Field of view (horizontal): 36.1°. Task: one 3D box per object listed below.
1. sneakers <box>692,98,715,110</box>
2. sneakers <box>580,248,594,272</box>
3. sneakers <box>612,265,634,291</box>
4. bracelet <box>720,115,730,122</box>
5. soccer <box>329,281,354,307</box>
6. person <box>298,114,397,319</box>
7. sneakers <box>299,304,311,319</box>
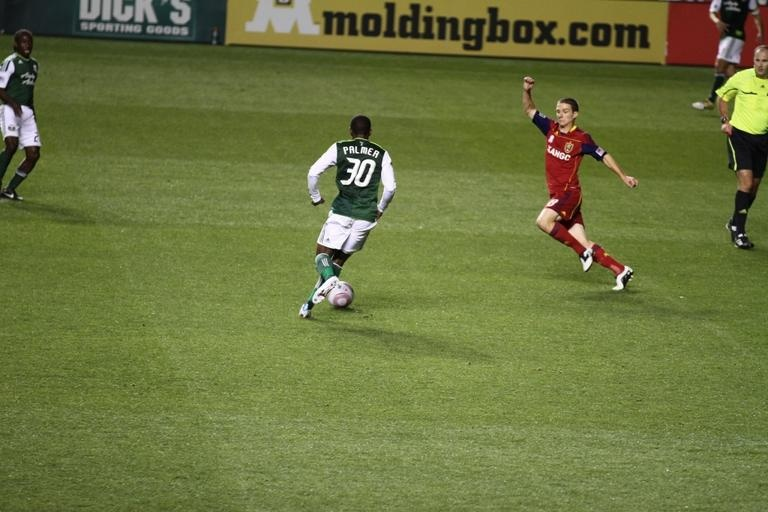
[{"bbox_3d":[6.189,-2.959,22.971,0.458,0.186,0.150,4,41,3],"label":"sneakers"},{"bbox_3d":[2.515,0.045,14.590,0.156,0.293,0.115,-7,7,3],"label":"sneakers"},{"bbox_3d":[2.928,0.282,14.476,0.214,0.373,0.143,3,30,-23],"label":"sneakers"},{"bbox_3d":[4.559,-1.824,15.776,0.110,0.099,0.106,-6,-25,24],"label":"bracelet"},{"bbox_3d":[-0.468,0.426,13.004,0.253,0.272,0.194,2,8,-16],"label":"soccer"},{"bbox_3d":[-0.484,-0.464,13.537,0.774,2.297,1.096,12,11,42],"label":"person"},{"bbox_3d":[-0.895,0.609,13.380,0.115,0.080,0.232,-22,27,-4],"label":"sneakers"}]
